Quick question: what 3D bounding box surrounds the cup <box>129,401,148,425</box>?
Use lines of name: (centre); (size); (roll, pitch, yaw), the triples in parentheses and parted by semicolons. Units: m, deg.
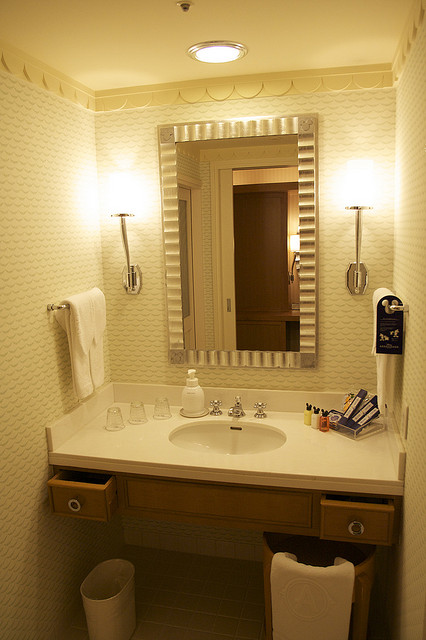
cup: (-0.327, 0.410, 2.017); (0.080, 0.085, 0.075); (-3, 7, 0)

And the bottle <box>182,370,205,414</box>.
bottle: (-0.085, 0.312, 1.986); (0.094, 0.197, 0.063); (-3, 8, -5)

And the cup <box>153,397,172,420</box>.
cup: (-0.220, 0.387, 2.021); (0.076, 0.081, 0.081); (-2, 5, 0)

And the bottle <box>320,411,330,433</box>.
bottle: (0.446, 0.407, 1.833); (0.037, 0.068, 0.056); (0, 9, 17)

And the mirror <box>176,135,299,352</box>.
mirror: (0.157, -0.266, 1.969); (0.526, 1.006, 0.020); (-2, -15, 11)

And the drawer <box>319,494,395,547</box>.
drawer: (0.460, 0.632, 1.459); (0.194, 0.135, 0.285); (0, -4, 14)

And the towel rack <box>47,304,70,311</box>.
towel rack: (-0.576, -0.047, 1.718); (0.064, 0.026, 0.055); (-1, 9, 10)

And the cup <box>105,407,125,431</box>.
cup: (-0.412, 0.427, 1.974); (0.081, 0.091, 0.082); (-1, 6, 0)

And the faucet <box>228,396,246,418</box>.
faucet: (0.103, 0.372, 1.961); (0.076, 0.086, 0.074); (-2, 8, -1)

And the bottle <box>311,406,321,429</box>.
bottle: (0.415, 0.398, 1.862); (0.033, 0.073, 0.047); (0, 9, 15)
